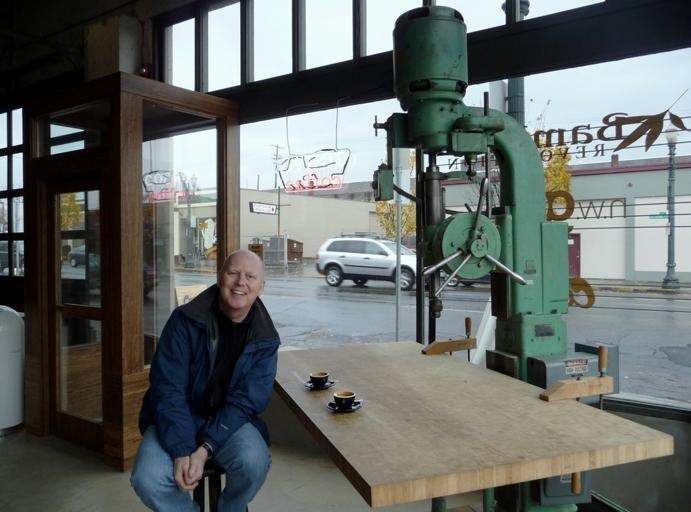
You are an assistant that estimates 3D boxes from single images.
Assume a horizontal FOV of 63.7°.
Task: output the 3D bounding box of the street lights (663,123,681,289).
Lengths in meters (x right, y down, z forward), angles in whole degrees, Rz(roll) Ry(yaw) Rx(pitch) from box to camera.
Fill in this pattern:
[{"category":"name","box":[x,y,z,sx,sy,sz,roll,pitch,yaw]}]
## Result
[{"category":"street lights","box":[1.691,-0.237,2.883,0.074,0.821,0.099,0,11,14]}]
